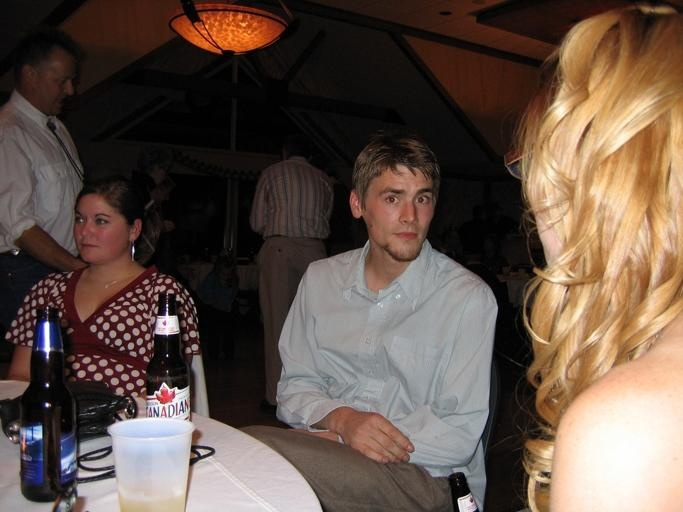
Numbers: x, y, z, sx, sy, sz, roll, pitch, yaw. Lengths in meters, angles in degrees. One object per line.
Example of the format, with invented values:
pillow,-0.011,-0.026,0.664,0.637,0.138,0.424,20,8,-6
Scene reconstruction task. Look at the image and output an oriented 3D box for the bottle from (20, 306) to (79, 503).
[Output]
bottle,-0.515,0.258,0.999,0.089,0.346,0.090,2,-1,0
